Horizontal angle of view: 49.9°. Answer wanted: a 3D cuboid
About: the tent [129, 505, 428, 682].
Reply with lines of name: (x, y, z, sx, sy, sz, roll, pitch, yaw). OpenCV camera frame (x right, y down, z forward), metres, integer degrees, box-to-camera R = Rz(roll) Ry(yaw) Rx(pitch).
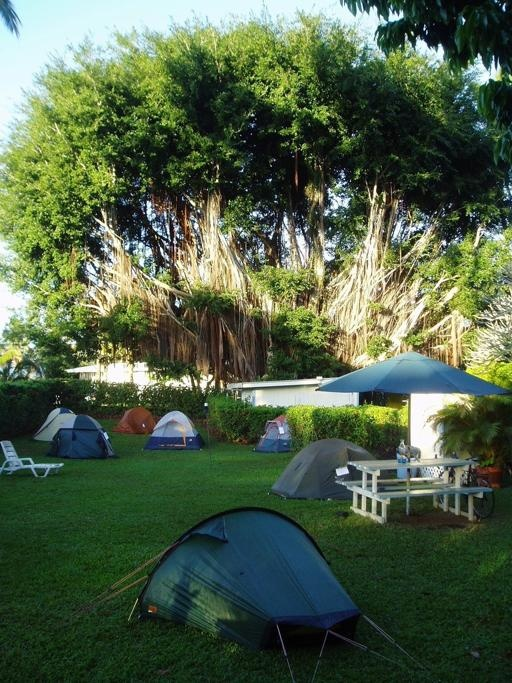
tent: (0.006, 1.732, 4.112, 1.609, 0.861, 0.810, -4, -4, 42)

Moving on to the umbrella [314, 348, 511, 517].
umbrella: (2.122, 1.326, 8.073, 2.326, 2.015, 2.377, 1, -11, -1)

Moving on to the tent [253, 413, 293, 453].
tent: (0.533, 2.714, 15.938, 0.827, 0.756, 1.158, -2, -6, 31)

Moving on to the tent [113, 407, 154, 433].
tent: (-4.814, 3.228, 21.935, 1.084, 0.749, 1.400, 0, -3, 38)

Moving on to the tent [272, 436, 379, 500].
tent: (1.226, 2.173, 9.357, 1.316, 0.630, 1.197, -2, -1, -9)

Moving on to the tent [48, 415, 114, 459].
tent: (-4.988, 2.675, 15.792, 1.942, 1.126, 1.611, 0, -6, 30)
